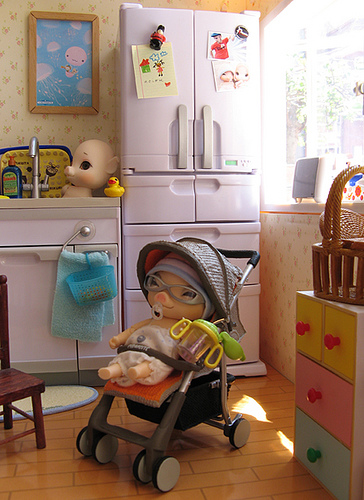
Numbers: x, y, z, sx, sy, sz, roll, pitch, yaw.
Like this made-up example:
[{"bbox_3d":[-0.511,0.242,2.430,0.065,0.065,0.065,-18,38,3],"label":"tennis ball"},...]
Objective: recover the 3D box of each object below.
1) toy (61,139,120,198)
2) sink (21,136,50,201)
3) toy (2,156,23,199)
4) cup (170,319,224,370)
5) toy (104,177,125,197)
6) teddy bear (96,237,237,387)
[{"bbox_3d":[-0.464,-0.415,2.102,0.254,0.278,0.138,-1,0,-15],"label":"toy"},{"bbox_3d":[-0.736,-0.413,2.092,0.159,0.304,0.188,0,1,-14],"label":"sink"},{"bbox_3d":[-0.868,-0.377,2.137,0.100,0.228,0.144,-1,0,-21],"label":"toy"},{"bbox_3d":[0.037,0.264,1.140,0.098,0.118,0.082,-46,5,-23],"label":"cup"},{"bbox_3d":[-0.308,-0.276,1.898,0.093,0.106,0.086,0,-11,17],"label":"toy"},{"bbox_3d":[-0.040,0.185,1.246,0.402,0.381,0.298,-1,0,7],"label":"teddy bear"}]
